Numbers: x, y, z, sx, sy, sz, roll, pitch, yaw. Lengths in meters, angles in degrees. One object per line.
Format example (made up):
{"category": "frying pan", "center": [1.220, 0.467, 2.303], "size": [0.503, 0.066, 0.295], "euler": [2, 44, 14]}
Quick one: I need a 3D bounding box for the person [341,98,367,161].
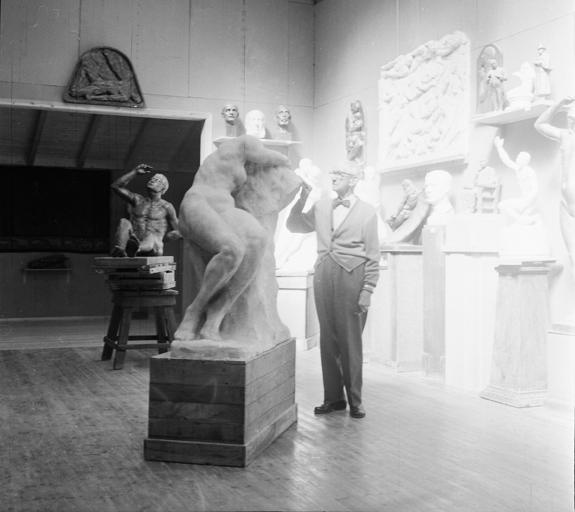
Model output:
{"category": "person", "center": [0.863, -1.538, 7.578], "size": [0.157, 0.819, 0.548], "euler": [0, 0, -12]}

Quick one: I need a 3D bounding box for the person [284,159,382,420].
{"category": "person", "center": [0.310, 0.210, 4.055], "size": [0.579, 1.686, 0.348], "euler": [0, 0, 7]}

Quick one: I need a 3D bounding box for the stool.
{"category": "stool", "center": [-1.627, 0.685, 6.005], "size": [0.569, 0.703, 0.548], "euler": [1, -7, 37]}

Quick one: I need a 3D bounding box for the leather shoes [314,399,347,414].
{"category": "leather shoes", "center": [0.280, 1.016, 4.103], "size": [0.231, 0.099, 0.081], "euler": [2, -5, -29]}

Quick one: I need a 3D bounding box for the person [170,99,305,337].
{"category": "person", "center": [-0.310, -0.128, 3.384], "size": [0.648, 1.162, 0.374], "euler": [0, 0, -22]}

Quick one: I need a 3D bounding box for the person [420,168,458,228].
{"category": "person", "center": [1.417, -0.550, 5.696], "size": [0.295, 0.561, 0.740], "euler": [1, 0, 15]}
